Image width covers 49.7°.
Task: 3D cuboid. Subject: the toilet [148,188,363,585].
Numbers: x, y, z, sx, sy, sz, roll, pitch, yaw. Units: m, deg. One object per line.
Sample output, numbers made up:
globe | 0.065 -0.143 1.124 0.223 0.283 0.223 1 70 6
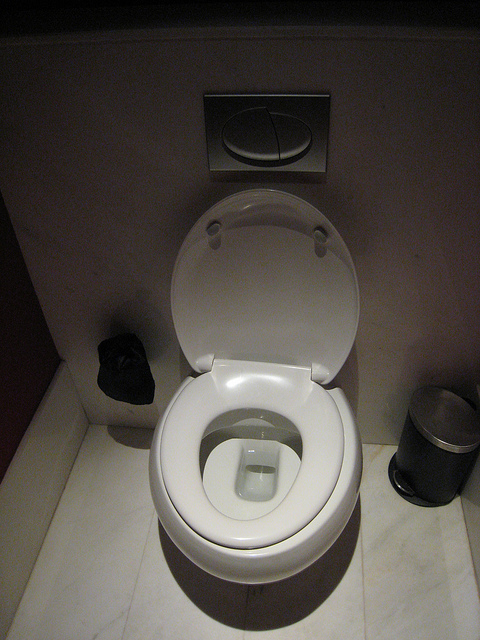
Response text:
toilet | 0.029 0.193 0.948 0.327 0.698 0.466 -1 36 -3
